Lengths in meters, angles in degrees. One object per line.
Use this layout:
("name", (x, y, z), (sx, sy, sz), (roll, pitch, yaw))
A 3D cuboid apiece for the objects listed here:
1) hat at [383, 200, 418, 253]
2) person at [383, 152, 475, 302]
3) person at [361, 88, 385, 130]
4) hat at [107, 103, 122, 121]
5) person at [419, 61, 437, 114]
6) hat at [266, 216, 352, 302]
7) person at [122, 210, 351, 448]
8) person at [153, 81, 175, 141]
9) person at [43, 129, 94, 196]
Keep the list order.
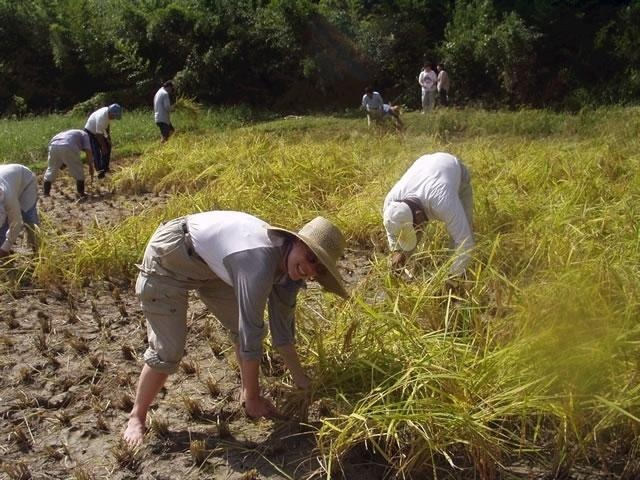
("hat", (0.725, -0.114, 5.267), (0.308, 0.483, 0.234), (1, 20, 19))
("person", (1.093, -0.171, 5.323), (0.983, 1.022, 0.972), (-22, 25, -36))
("person", (1.293, -3.081, 13.822), (0.409, 1.288, 0.430), (-10, 32, 3))
("hat", (-3.455, -2.153, 9.736), (0.149, 0.257, 0.398), (-6, 21, 1))
("person", (2.805, -3.946, 14.946), (0.447, 1.253, 2.047), (-1, 22, 12))
("hat", (-0.047, 0.193, 4.013), (0.270, 0.534, 0.496), (-43, 59, -16))
("person", (-0.655, 0.606, 4.324), (1.698, 1.572, 0.644), (-6, 19, 1))
("person", (-3.257, -2.734, 12.114), (0.478, 1.146, 1.542), (-10, 21, -14))
("person", (-3.949, -1.253, 9.133), (0.681, 1.120, 0.723), (0, 16, -34))
